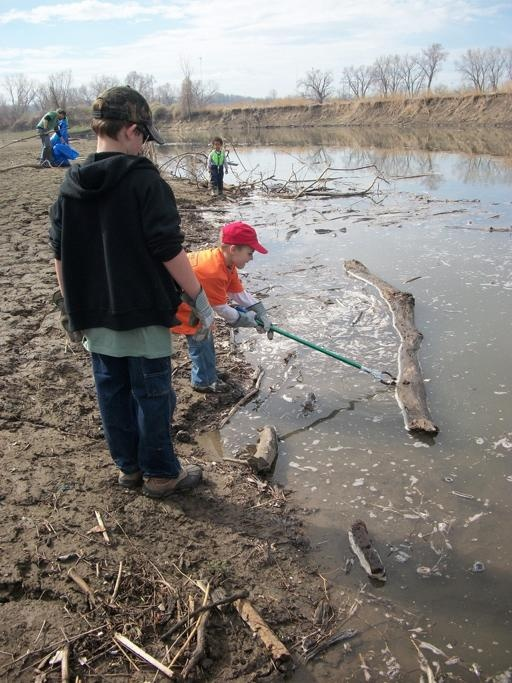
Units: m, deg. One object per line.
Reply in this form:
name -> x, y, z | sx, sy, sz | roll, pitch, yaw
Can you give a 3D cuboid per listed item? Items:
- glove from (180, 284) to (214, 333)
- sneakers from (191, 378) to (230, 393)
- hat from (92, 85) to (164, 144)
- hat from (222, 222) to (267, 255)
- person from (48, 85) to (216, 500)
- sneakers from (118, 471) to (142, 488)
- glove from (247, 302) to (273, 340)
glove -> -0.319, -0.179, 3.134 | 0.090, 0.226, 0.220 | -9, 43, 3
sneakers -> -0.361, 0.361, 4.700 | 0.284, 0.111, 0.097 | -9, 24, -18
hat -> -0.612, -1.077, 2.793 | 0.348, 0.179, 0.238 | 5, 7, -39
hat -> -0.090, -0.687, 3.977 | 0.334, 0.149, 0.195 | 14, 18, -21
person -> -0.595, -0.126, 2.944 | 0.746, 2.141, 0.413 | -8, 20, -3
sneakers -> -0.707, 0.777, 3.313 | 0.158, 0.064, 0.065 | -3, 37, -17
glove -> 0.027, -0.168, 4.582 | 0.183, 0.287, 0.124 | -23, -8, -40
